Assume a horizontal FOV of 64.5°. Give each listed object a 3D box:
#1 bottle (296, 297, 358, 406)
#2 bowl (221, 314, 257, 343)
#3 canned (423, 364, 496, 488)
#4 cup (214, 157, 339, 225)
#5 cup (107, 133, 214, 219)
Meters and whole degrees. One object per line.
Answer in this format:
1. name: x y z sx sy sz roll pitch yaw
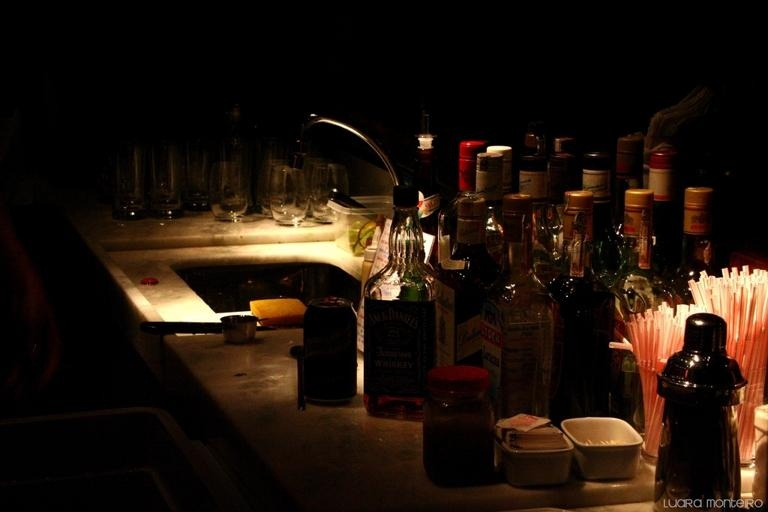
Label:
1. bottle: -0.112 0.190 1.236 0.108 0.200 0.080 -1 9 0
2. bowl: -0.371 0.181 1.546 0.081 0.067 0.090 -6 11 -32
3. canned: 0.125 0.276 0.995 0.128 0.167 0.116 -1 -3 -7
4. cup: -0.397 -0.287 2.684 0.311 0.217 0.298 0 7 0
5. cup: -1.135 -0.384 3.048 0.496 0.373 0.362 -1 9 0
